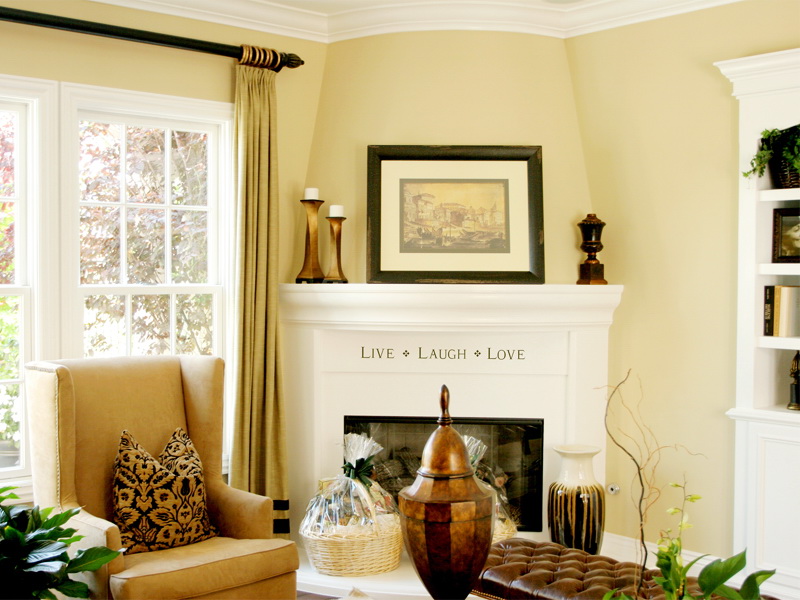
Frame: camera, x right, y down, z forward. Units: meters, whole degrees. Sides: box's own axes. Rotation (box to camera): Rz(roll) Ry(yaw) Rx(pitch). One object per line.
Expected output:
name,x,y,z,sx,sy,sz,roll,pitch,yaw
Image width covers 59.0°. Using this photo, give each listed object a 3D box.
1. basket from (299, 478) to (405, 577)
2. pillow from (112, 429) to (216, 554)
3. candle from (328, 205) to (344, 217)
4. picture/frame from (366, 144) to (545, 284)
basket,-0.263,1.299,4.026,0.552,0.542,0.569,1,-5,-12
pillow,-1.131,0.917,3.334,0.410,0.409,0.219,7,-30,-41
candle,-0.387,-0.529,4.310,0.077,0.060,0.077,-1,3,-28
picture/frame,0.368,-0.497,4.340,0.769,0.699,0.090,-1,-6,1
